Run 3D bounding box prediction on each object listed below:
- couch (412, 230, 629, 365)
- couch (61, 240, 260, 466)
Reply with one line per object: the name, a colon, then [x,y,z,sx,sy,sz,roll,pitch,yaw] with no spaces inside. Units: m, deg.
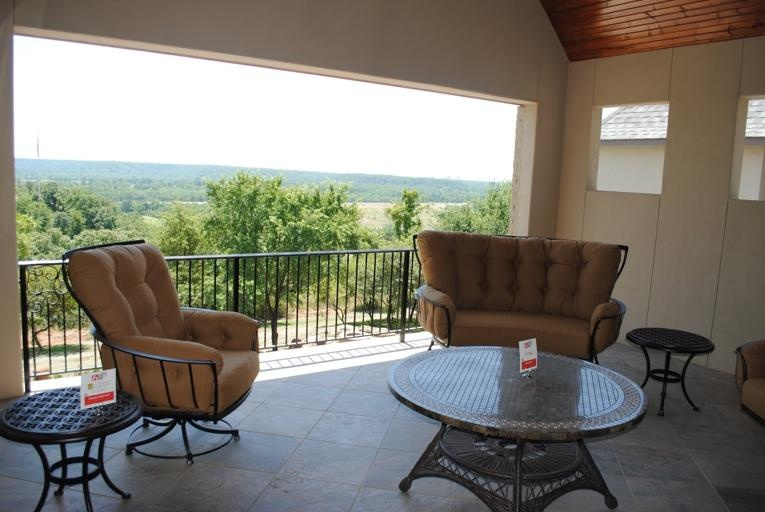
couch: [1.340,0.403,5.053,1.940,1.034,0.945,3,19,7]
couch: [-1.402,0.654,4.352,1.600,1.815,1.528,5,10,8]
